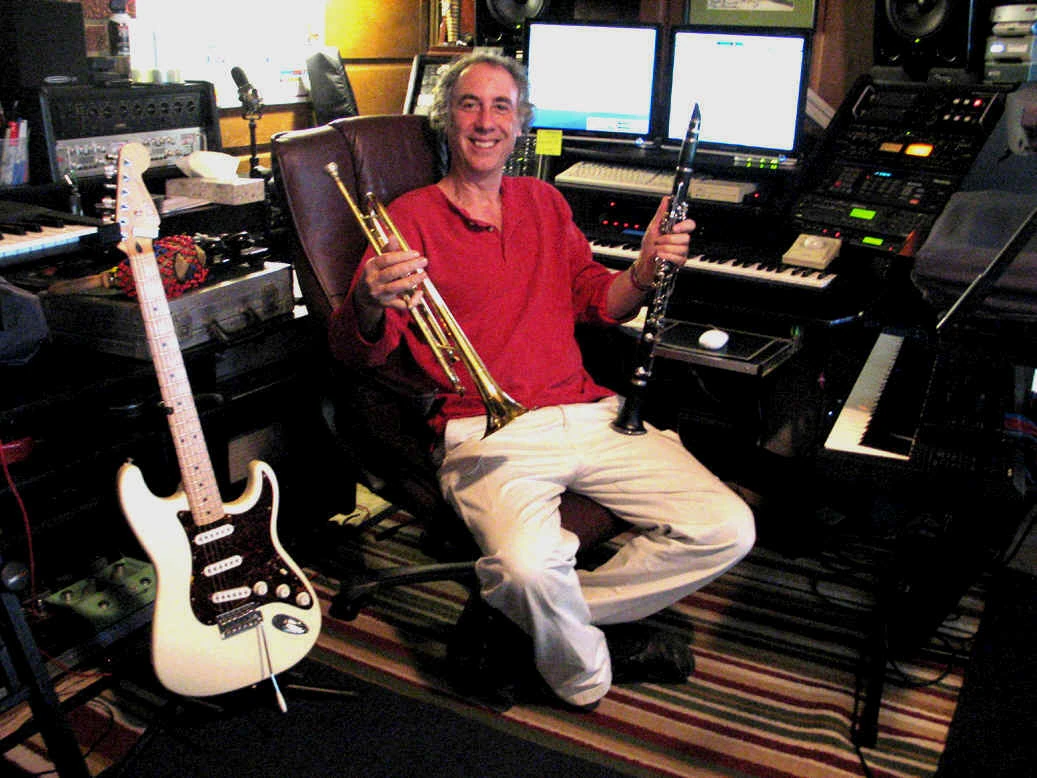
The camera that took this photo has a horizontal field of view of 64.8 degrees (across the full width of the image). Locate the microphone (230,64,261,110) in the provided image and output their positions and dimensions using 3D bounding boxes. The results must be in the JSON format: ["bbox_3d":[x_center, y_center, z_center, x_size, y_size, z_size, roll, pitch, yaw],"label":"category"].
[{"bbox_3d":[-1.335,-1.470,4.022,0.109,0.210,0.330,-8,27,-16],"label":"microphone"}]

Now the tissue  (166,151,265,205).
[{"bbox_3d":[-1.205,-0.849,3.381,0.445,0.212,0.418,16,20,30],"label":"tissue "}]

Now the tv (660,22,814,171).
[{"bbox_3d":[0.824,-1.042,3.097,0.753,0.548,0.168,10,21,26],"label":"tv"}]

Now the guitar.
[{"bbox_3d":[-0.855,0.109,2.090,0.189,1.431,0.510,-4,10,32],"label":"guitar"}]

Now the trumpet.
[{"bbox_3d":[-0.270,-0.225,2.355,0.297,0.880,0.310,-36,1,19],"label":"trumpet"}]

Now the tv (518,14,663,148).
[{"bbox_3d":[0.289,-1.216,3.233,0.976,0.561,0.078,9,21,19],"label":"tv"}]
